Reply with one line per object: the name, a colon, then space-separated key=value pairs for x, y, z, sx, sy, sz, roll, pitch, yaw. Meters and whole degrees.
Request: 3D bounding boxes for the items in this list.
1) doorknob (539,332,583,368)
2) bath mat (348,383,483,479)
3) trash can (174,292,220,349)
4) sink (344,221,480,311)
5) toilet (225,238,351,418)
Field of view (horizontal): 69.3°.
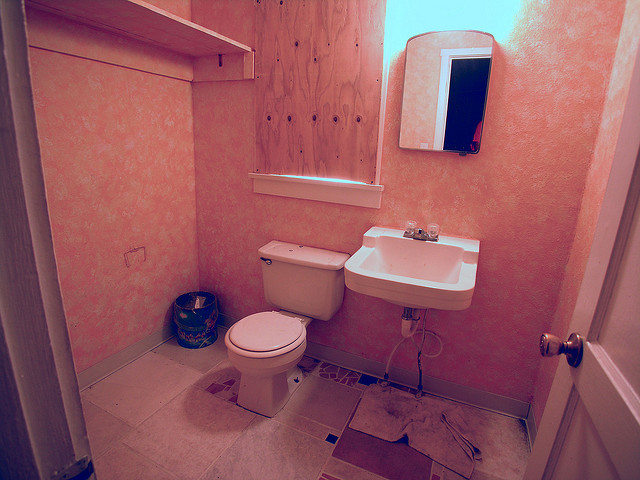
doorknob: x=0.684 y=0.307 z=1.323 sx=0.099 sy=0.109 sz=0.081 roll=9 pitch=-3 yaw=3
bath mat: x=0.510 y=0.942 z=2.374 sx=0.646 sy=0.083 sz=0.417 roll=10 pitch=20 yaw=26
trash can: x=-0.798 y=0.487 z=2.977 sx=0.225 sy=0.369 sz=0.249 roll=12 pitch=19 yaw=21
sink: x=0.467 y=0.112 z=2.222 sx=0.580 sy=0.211 sz=0.526 roll=10 pitch=23 yaw=17
toilet: x=-0.223 y=0.484 z=2.533 sx=0.530 sy=0.745 sz=0.713 roll=12 pitch=20 yaw=25
